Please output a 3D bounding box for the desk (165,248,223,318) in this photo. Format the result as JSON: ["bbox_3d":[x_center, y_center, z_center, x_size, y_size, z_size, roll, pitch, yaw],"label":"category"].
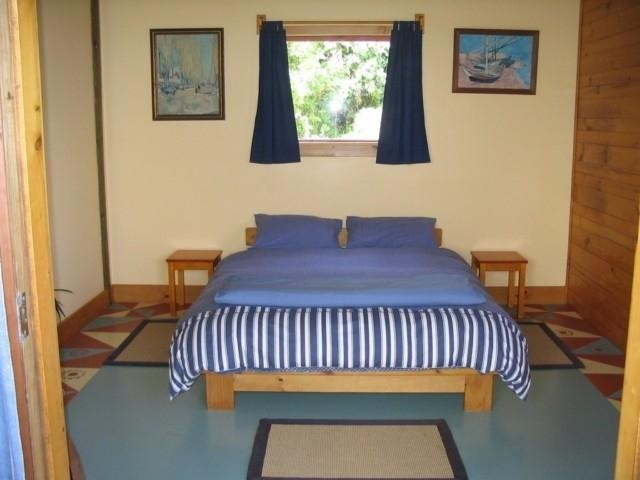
[{"bbox_3d":[-1.300,0.414,5.200,0.396,0.341,0.398,11,3,4],"label":"desk"}]

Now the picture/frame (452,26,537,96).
[{"bbox_3d":[1.598,-1.746,5.087,0.012,0.568,0.733,-5,17,-40],"label":"picture/frame"}]

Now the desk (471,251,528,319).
[{"bbox_3d":[1.724,0.424,5.234,0.559,0.788,0.640,0,5,2],"label":"desk"}]
